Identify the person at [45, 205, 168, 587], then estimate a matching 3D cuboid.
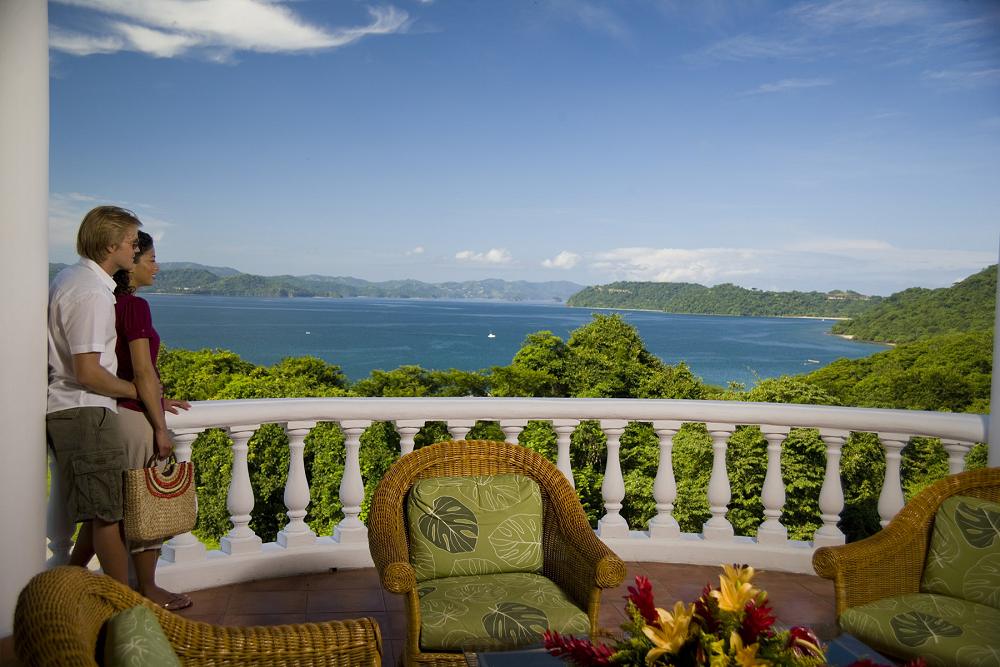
[{"bbox_3d":[-2.196,0.328,3.898,0.481,2.070,0.412,-2,-5,28],"label":"person"}]
